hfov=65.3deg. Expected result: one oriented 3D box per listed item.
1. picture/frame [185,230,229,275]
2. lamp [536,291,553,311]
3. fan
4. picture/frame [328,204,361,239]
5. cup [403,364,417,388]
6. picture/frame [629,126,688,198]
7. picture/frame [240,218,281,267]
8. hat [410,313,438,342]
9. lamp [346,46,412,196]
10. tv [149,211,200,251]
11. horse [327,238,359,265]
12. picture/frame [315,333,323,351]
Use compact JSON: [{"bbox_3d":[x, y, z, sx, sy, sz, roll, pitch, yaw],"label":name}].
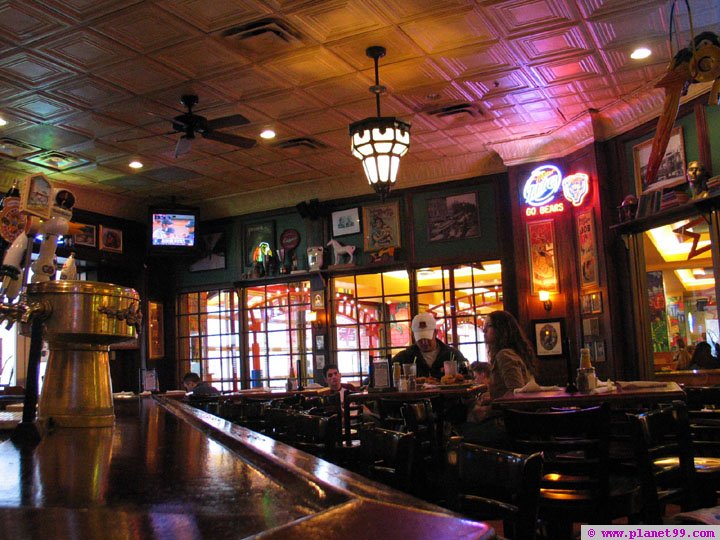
[{"bbox_3d":[-2.910,-0.354,10.583,0.074,0.750,0.954,9,12,29],"label":"picture/frame"},{"bbox_3d":[2.681,0.424,8.145,0.193,0.305,0.096,-7,-12,16],"label":"lamp"},{"bbox_3d":[-1.662,-1.575,6.164,1.041,0.390,0.881,-6,-7,-2],"label":"fan"},{"bbox_3d":[-0.254,-0.833,9.546,0.641,0.496,0.089,-4,-9,26],"label":"picture/frame"},{"bbox_3d":[0.357,0.784,4.207,0.143,0.191,0.137,-1,-15,0],"label":"cup"},{"bbox_3d":[3.558,-1.277,6.652,0.792,0.683,0.051,-23,22,-13],"label":"picture/frame"},{"bbox_3d":[-1.797,-0.492,10.209,0.943,1.101,0.086,-4,-13,25],"label":"picture/frame"},{"bbox_3d":[0.598,0.529,5.289,0.203,0.259,0.263,-5,-11,6],"label":"hat"},{"bbox_3d":[0.170,-1.492,5.473,0.721,1.383,0.665,0,-4,-39],"label":"lamp"},{"bbox_3d":[-3.259,-0.657,9.946,1.136,0.865,0.581,1,-3,-24],"label":"tv"},{"bbox_3d":[-0.323,-0.308,9.481,0.548,0.500,0.192,-12,-13,36],"label":"horse"},{"bbox_3d":[-0.687,1.214,9.519,0.180,0.250,0.020,-11,-13,34],"label":"picture/frame"}]
